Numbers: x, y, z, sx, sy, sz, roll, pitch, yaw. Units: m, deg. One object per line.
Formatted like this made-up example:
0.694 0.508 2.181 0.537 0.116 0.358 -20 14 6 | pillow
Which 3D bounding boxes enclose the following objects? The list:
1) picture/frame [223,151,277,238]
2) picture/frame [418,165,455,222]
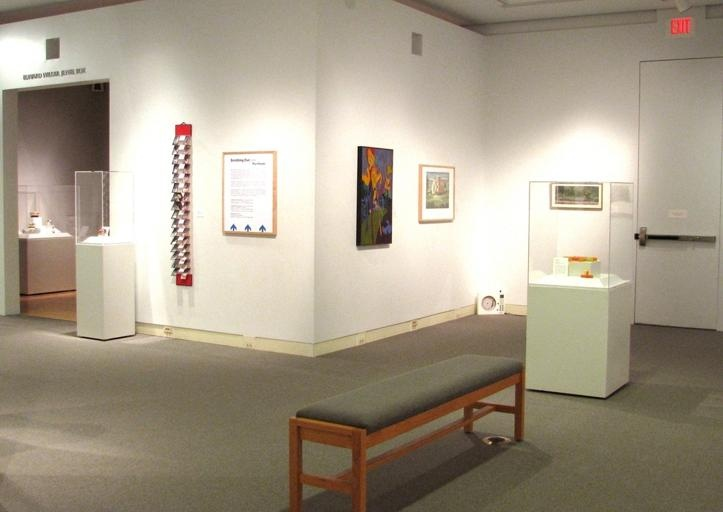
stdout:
-1.479 -0.836 7.178 1.037 1.498 0.065 2 3 25 | picture/frame
1.224 -1.055 8.752 0.027 0.864 0.818 -4 8 -36 | picture/frame
